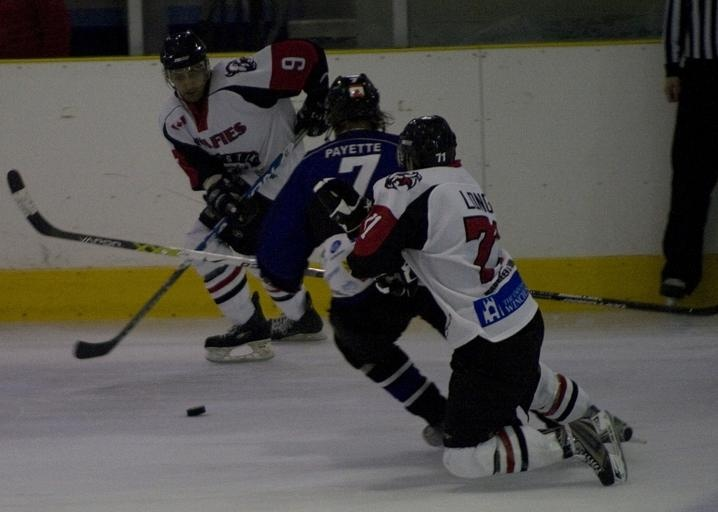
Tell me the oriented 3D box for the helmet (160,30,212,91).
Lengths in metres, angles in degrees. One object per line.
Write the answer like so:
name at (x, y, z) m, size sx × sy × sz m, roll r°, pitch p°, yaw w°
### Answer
helmet at (-0.832, -0.952, 4.392) m, size 0.234 × 0.271 × 0.152 m, roll -8°, pitch 15°, yaw -23°

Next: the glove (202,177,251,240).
glove at (-0.623, -0.251, 4.495) m, size 0.336 × 0.206 × 0.143 m, roll 31°, pitch -3°, yaw 45°

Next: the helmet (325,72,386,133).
helmet at (-0.029, -0.613, 3.719) m, size 0.225 × 0.232 × 0.249 m, roll -3°, pitch -4°, yaw -5°

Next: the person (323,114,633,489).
person at (0.414, 0.141, 3.326) m, size 1.157 × 1.282 × 0.514 m, roll 1°, pitch 15°, yaw 14°
